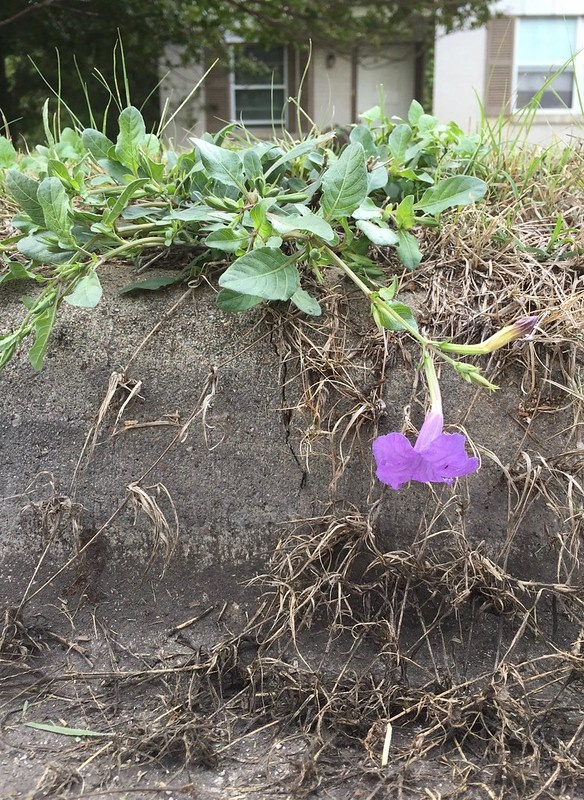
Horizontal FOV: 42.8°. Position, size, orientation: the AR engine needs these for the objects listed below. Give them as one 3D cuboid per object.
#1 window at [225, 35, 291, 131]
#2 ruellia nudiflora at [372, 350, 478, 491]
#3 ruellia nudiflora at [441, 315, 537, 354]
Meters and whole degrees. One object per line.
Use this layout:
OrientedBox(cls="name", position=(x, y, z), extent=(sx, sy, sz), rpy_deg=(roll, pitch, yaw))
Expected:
OrientedBox(cls="window", position=(-0.205, -1.871, 4.437), extent=(0.324, 0.351, 0.739), rpy_deg=(-1, 18, -4))
OrientedBox(cls="ruellia nudiflora", position=(0.237, 0.040, 1.342), extent=(0.191, 0.157, 0.203), rpy_deg=(38, 42, -10))
OrientedBox(cls="ruellia nudiflora", position=(0.377, -0.122, 1.393), extent=(0.182, 0.059, 0.056), rpy_deg=(-19, -13, 21))
